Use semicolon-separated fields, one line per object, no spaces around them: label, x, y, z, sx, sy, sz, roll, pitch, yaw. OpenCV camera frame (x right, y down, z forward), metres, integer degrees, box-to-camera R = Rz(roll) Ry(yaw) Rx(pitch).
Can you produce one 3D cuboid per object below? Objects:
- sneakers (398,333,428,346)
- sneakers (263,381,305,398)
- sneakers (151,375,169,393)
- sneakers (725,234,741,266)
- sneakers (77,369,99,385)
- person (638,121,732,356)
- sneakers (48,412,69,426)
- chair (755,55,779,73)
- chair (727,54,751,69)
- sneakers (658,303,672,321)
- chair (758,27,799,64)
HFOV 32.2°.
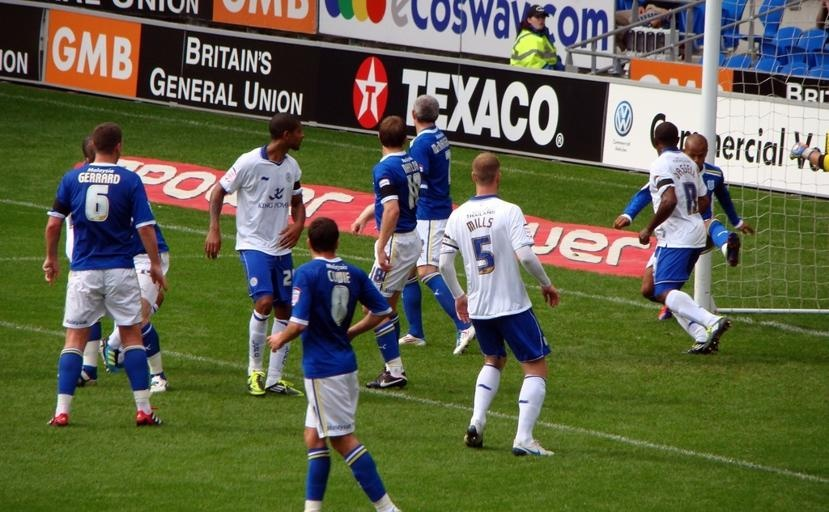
sneakers;-0.021;1.436;25.182;0.499;0.225;0.187;4;-4;-3
sneakers;-2.147;2.107;23.571;0.509;0.211;0.269;-1;0;1
sneakers;-4.171;2.025;23.437;0.346;0.164;0.160;6;6;38
sneakers;5.532;-0.087;24.835;0.205;0.633;0.282;-5;3;10
sneakers;-5.402;1.936;23.544;0.438;0.194;0.164;8;8;38
person;4.536;-0.293;24.399;1.331;3.566;0.911;5;8;13
sneakers;-5.626;2.475;22.493;0.359;0.151;0.135;4;1;29
chair;8.893;-4.595;36.021;0.595;0.315;0.697;6;9;12
chair;8.192;-4.619;35.979;0.524;0.370;0.413;6;32;21
sneakers;4.466;1.048;25.549;0.126;0.330;0.262;42;27;-12
chair;9.372;-5.095;36.507;1.055;0.931;0.812;-3;13;-42
